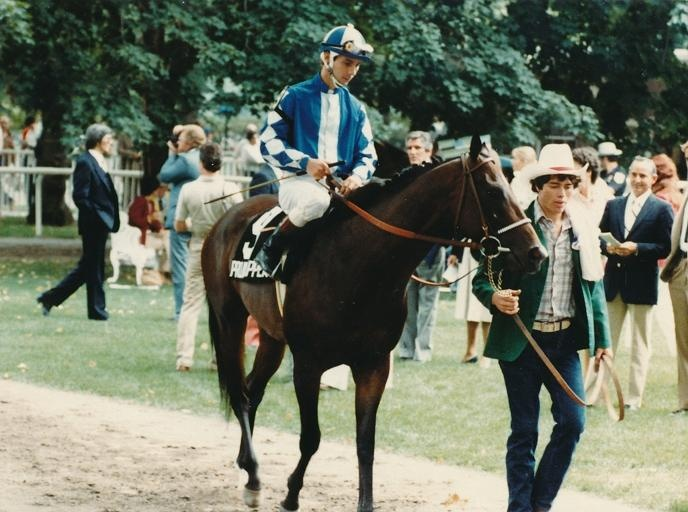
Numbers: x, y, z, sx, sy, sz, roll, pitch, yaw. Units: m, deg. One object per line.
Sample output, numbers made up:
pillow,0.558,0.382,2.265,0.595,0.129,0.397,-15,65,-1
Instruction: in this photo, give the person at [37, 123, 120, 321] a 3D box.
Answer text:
person,-3.653,-0.484,15.805,0.988,2.772,0.789,2,-1,-21

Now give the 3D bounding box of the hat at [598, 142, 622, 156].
hat,4.576,-1.821,19.183,0.417,0.148,0.377,-2,4,2

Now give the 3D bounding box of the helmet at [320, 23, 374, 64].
helmet,0.060,-2.021,10.679,0.430,0.271,0.334,12,14,17

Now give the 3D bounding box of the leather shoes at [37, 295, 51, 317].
leather shoes,-4.216,0.682,15.829,0.185,0.323,0.145,0,16,35

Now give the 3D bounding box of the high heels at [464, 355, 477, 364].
high heels,1.657,1.352,14.540,0.193,0.085,0.071,-4,4,-16

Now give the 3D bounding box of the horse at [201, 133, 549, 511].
horse,0.051,0.680,10.783,3.486,3.563,1.213,0,-2,42
